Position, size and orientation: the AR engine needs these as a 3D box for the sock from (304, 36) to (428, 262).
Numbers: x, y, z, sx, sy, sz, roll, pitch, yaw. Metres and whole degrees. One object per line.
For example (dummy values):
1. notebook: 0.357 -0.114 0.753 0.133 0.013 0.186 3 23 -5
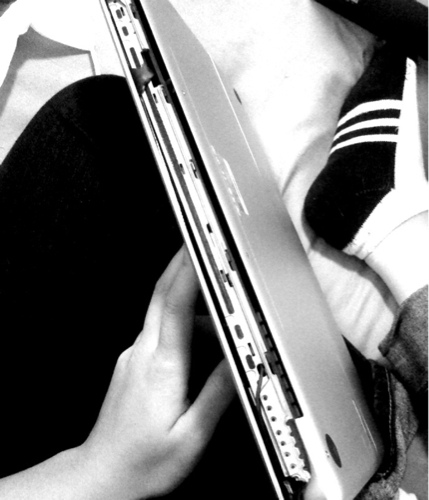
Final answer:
1. sock: 0.278 -0.179 0.956 0.093 0.215 0.380 -14 56 45

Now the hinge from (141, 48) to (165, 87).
1. hinge: -0.079 -0.234 0.653 0.018 0.013 0.071 -16 72 -5
